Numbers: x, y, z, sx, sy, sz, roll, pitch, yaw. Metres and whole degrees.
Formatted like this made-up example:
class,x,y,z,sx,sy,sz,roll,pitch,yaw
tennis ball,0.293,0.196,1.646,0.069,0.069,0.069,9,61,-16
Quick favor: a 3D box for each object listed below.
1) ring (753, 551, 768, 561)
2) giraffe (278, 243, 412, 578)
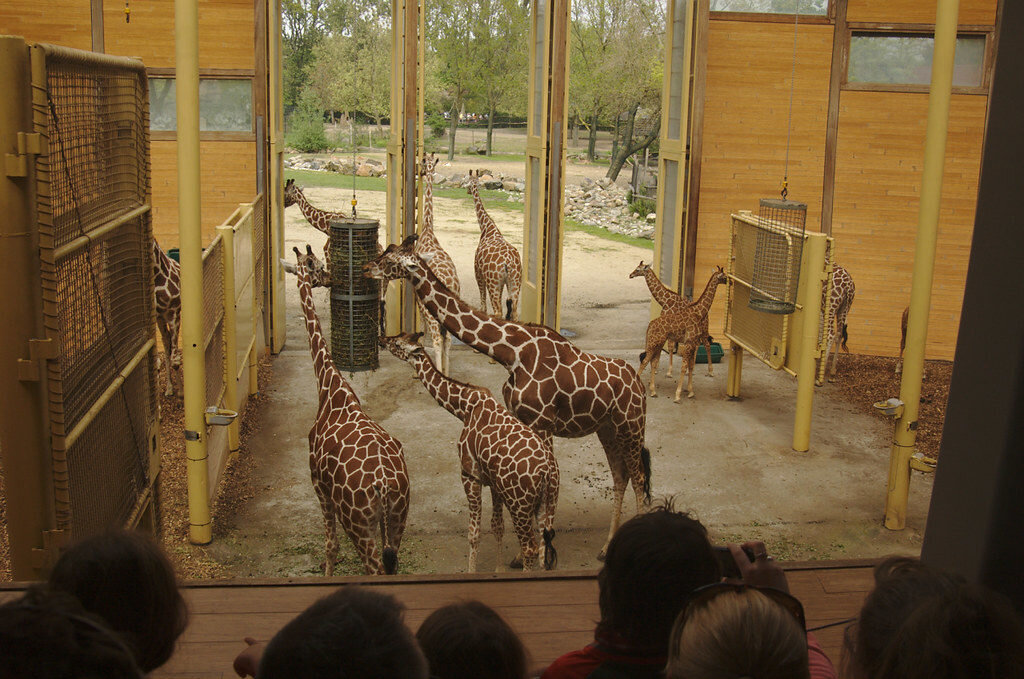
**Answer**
class,x,y,z,sx,sy,sz,roll,pitch,yaw
ring,1.045,0.913,3.650,0.033,0.030,0.038,1,-1,-2
giraffe,-1.110,0.892,5.853,0.511,1.449,1.526,-4,15,-28
